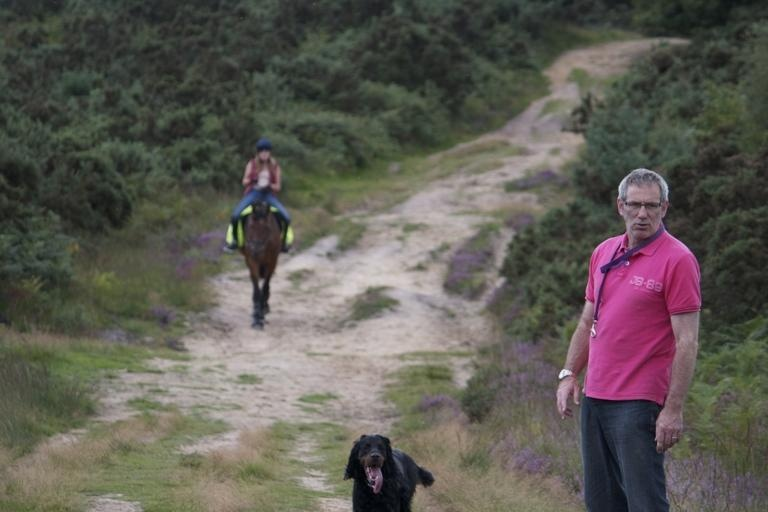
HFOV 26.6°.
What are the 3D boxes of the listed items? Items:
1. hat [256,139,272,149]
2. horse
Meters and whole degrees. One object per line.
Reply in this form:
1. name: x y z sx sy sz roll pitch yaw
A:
1. hat: -2.746 -2.646 36.729 0.238 0.250 0.290 -1 -11 5
2. horse: -2.787 0.100 36.700 0.870 2.840 0.779 1 4 -13
